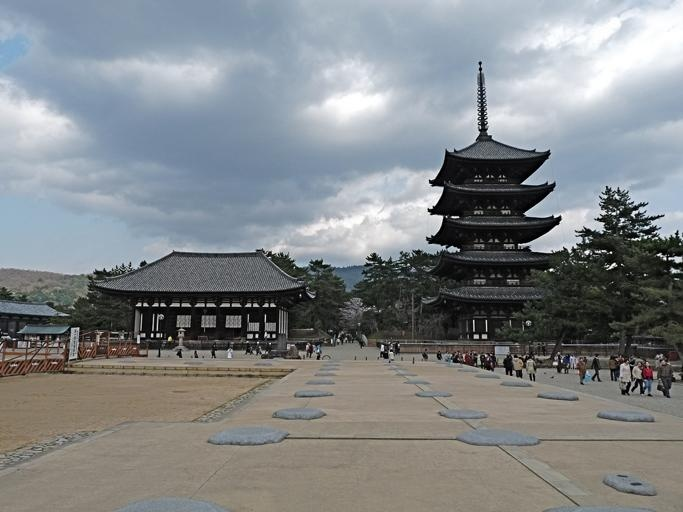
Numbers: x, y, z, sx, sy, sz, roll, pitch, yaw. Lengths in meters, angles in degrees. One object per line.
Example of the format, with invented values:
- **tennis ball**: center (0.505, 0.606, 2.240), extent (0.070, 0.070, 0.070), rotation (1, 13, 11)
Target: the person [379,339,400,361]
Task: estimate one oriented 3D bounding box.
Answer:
- **person**: center (4.064, 8.172, 42.319), extent (1.182, 1.081, 2.865), rotation (-3, -21, 4)
